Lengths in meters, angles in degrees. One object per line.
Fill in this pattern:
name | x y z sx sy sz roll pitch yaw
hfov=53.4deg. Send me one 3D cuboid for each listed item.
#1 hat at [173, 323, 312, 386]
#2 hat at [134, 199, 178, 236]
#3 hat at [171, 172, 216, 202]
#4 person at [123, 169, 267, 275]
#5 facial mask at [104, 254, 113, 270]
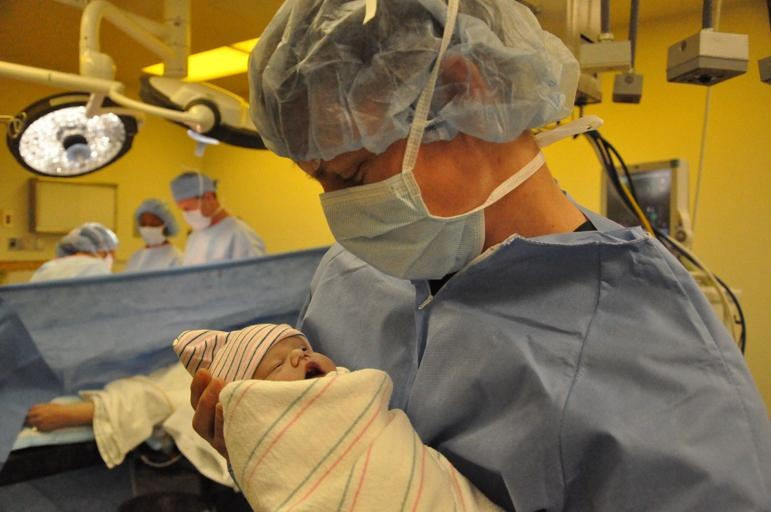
hat | -0.493 0.291 2.399 0.279 0.110 0.210 -13 -1 9
hat | -1.489 -0.274 4.992 0.185 0.256 0.136 -18 -1 6
hat | -1.164 -0.414 4.628 0.210 0.121 0.160 -15 12 -31
person | -1.335 -0.239 5.164 0.722 0.534 0.367 -18 -6 38
facial mask | -1.683 0.033 4.631 0.057 0.083 0.069 1 29 -6
